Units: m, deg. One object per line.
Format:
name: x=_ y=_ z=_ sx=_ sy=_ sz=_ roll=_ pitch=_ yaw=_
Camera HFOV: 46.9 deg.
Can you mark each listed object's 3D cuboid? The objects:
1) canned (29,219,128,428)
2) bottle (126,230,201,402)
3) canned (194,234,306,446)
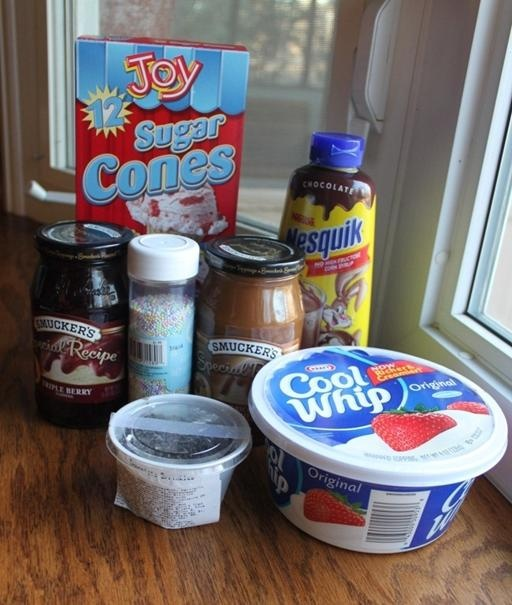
canned: x=-0.185 y=0.020 z=0.637 sx=0.099 sy=0.207 sz=0.119 roll=1 pitch=26 yaw=-11
bottle: x=-0.099 y=0.021 z=0.612 sx=0.074 sy=0.183 sz=0.084 roll=9 pitch=26 yaw=5
canned: x=-0.008 y=0.011 z=0.653 sx=0.111 sy=0.175 sz=0.171 roll=5 pitch=24 yaw=-2
